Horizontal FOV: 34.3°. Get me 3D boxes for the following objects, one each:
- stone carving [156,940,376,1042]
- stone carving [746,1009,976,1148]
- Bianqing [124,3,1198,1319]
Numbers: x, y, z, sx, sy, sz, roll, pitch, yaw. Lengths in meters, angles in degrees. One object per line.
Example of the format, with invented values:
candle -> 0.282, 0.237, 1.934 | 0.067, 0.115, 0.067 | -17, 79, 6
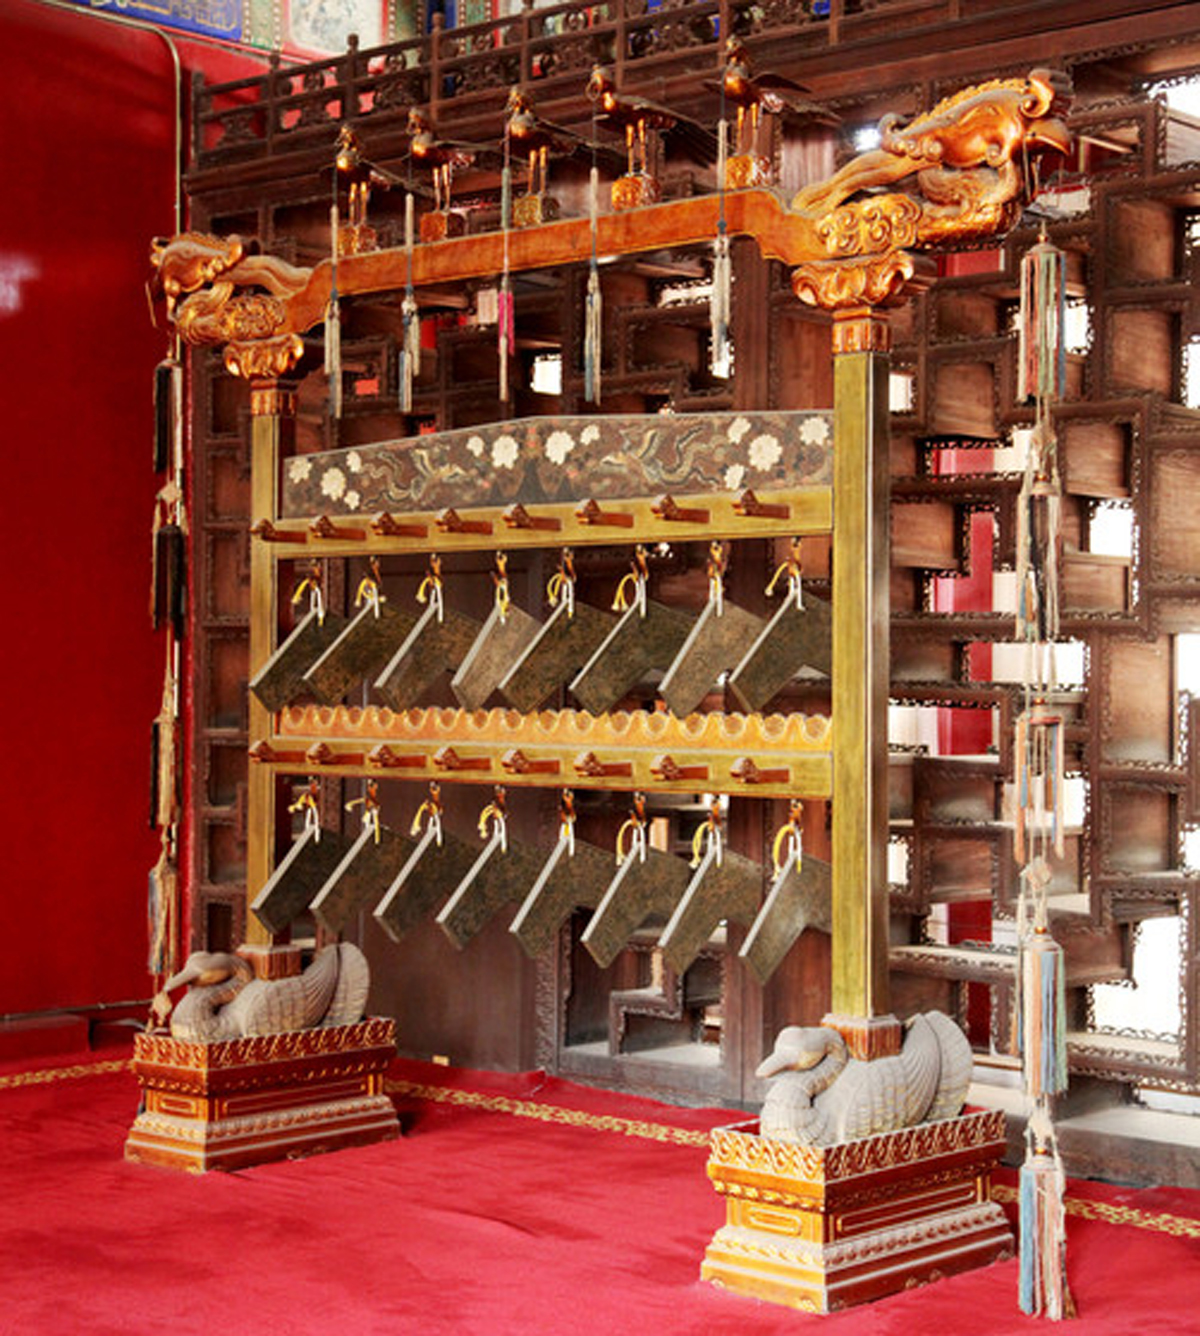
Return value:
stone carving -> -0.695, 0.675, 4.048 | 0.379, 0.148, 0.192 | 0, -12, -38
stone carving -> 0.432, 0.683, 3.201 | 0.172, 0.184, 0.424 | 1, 5, 45
Bianqing -> 0.168, 0.006, 3.843 | 0.752, 2.494, 2.925 | -2, 1, -45
